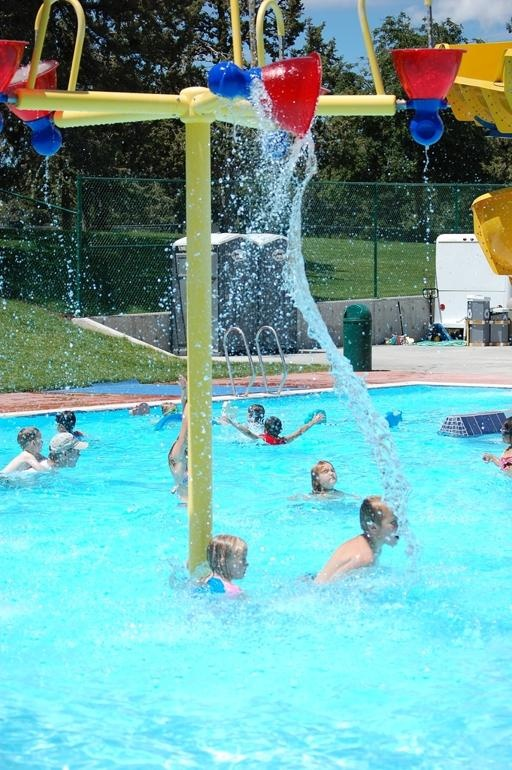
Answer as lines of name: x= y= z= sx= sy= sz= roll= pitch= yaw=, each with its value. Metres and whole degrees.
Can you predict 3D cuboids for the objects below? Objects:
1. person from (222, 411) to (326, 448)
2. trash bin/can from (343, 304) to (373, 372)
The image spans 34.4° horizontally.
person: x=0.137 y=0.493 z=8.944 sx=0.808 sy=0.406 sz=1.015 roll=-3 pitch=9 yaw=-6
trash bin/can: x=1.708 y=-0.773 z=13.941 sx=0.449 sy=1.153 sz=0.392 roll=-1 pitch=9 yaw=2
